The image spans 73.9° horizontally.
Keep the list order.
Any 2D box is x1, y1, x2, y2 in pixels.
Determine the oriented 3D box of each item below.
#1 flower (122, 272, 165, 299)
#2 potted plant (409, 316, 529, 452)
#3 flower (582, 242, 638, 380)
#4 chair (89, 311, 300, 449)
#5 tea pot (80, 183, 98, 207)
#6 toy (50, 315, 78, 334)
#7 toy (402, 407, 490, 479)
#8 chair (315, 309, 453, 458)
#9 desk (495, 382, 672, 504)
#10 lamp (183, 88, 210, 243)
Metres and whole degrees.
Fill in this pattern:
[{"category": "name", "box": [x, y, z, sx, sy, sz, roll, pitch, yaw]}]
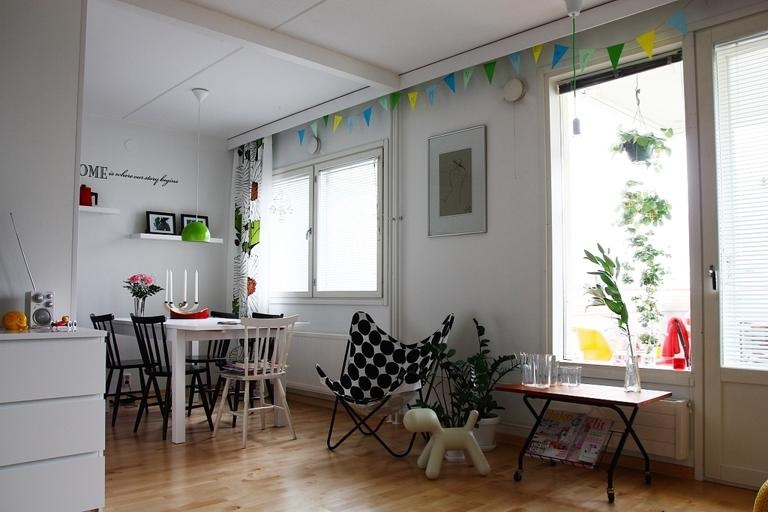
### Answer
[{"category": "flower", "box": [-2.785, 0.328, 5.936, 0.385, 0.271, 0.392, 2, 4, -8]}, {"category": "potted plant", "box": [0.792, 1.155, 4.660, 0.856, 1.140, 1.117, 3, -10, -13]}, {"category": "flower", "box": [1.936, 0.387, 4.398, 0.413, 1.044, 1.589, -1, -1, 25]}, {"category": "chair", "box": [-1.521, 1.094, 4.775, 1.511, 0.729, 0.884, -1, -1, 8]}, {"category": "tea pot", "box": [-3.414, -0.708, 5.881, 0.164, 0.282, 0.302, -1, -1, -28]}, {"category": "toy", "box": [-2.072, 0.446, 3.300, 0.166, 0.094, 0.132, -3, -4, 39]}, {"category": "toy", "box": [0.449, 1.370, 3.780, 0.633, 0.489, 0.404, 3, -11, -10]}, {"category": "chair", "box": [-0.012, 0.999, 4.645, 1.251, 1.429, 1.122, -1, -10, 31]}, {"category": "desk", "box": [1.444, 1.312, 3.713, 0.578, 0.641, 1.009, 8, -11, -38]}, {"category": "lamp", "box": [-2.089, -1.059, 5.858, 0.346, 1.832, 0.364, -1, -5, 16]}]
